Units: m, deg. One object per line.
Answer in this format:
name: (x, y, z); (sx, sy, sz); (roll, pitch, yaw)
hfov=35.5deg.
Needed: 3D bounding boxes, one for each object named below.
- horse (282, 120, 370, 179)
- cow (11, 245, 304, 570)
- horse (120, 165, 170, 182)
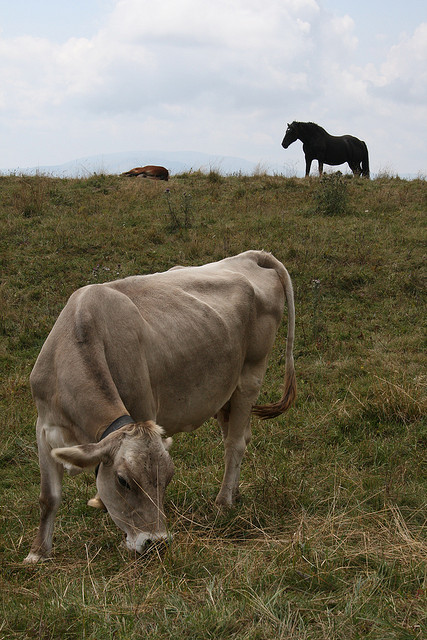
horse: (3.356, -4.831, 19.577); (3.029, 1.731, 0.721); (0, 0, -23)
cow: (-0.305, 0.501, 4.815); (0.931, 1.787, 3.485); (12, 18, 24)
horse: (-1.613, -3.502, 15.884); (0.981, 0.367, 1.793); (-7, 12, -17)
